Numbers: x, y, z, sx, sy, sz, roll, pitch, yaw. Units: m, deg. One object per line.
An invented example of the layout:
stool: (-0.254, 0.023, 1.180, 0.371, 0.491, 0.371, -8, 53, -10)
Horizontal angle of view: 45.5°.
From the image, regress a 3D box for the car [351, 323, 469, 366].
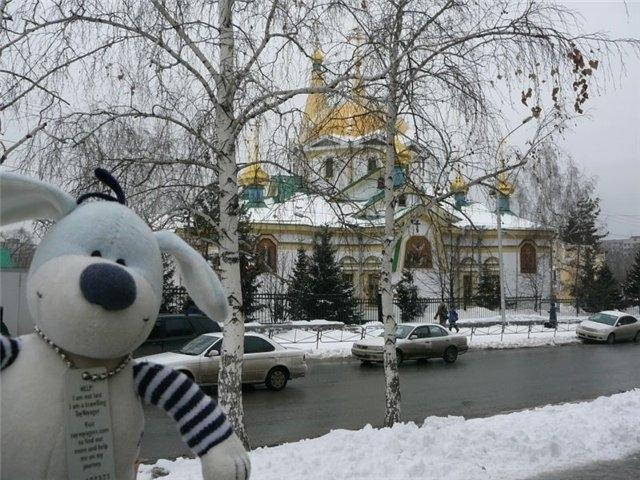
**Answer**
car: (2.701, 3.118, 22.547, 3.641, 1.224, 1.163, 2, -7, -37)

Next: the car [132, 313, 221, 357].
car: (-3.231, 2.109, 17.275, 1.818, 1.085, 1.024, 6, -10, -36)
